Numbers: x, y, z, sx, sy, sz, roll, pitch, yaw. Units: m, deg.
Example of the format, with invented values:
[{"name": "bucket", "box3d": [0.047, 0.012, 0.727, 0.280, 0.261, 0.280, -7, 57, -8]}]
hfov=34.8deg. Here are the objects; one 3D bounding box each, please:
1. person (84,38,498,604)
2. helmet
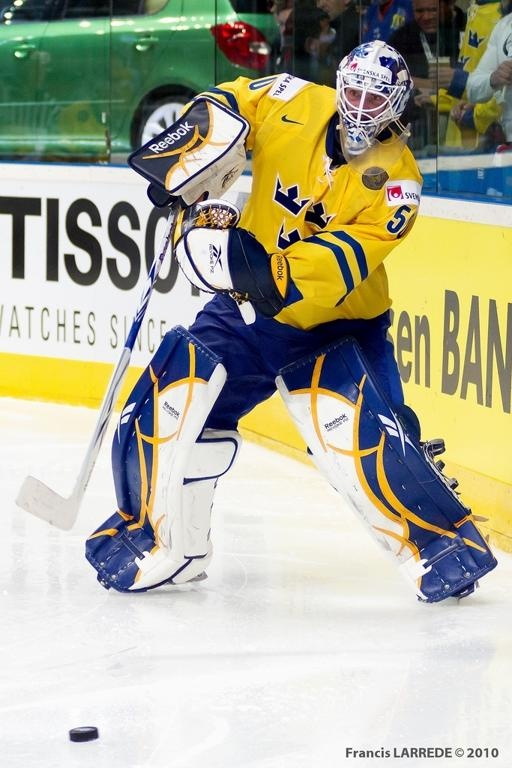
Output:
[{"name": "person", "box3d": [0.116, -0.105, 1.928, 1.096, 1.325, 0.497, 10, 18, 17]}, {"name": "helmet", "box3d": [0.234, -0.591, 1.681, 0.166, 0.194, 0.212, 17, 37, 13]}]
